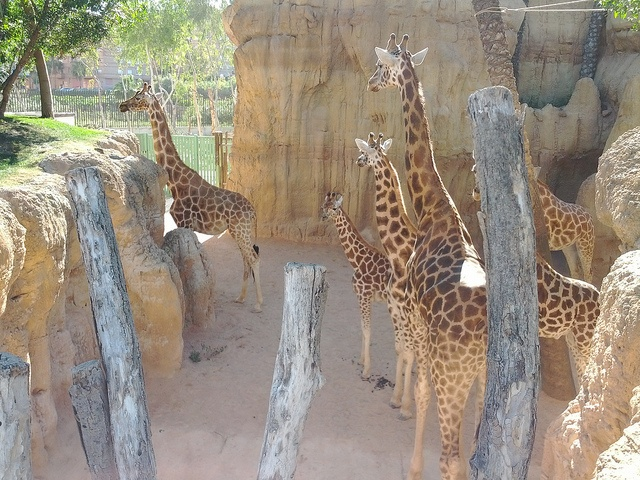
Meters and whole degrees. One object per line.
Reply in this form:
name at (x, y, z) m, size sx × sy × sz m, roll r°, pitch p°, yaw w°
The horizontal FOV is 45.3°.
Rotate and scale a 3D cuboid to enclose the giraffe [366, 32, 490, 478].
giraffe at (1.419, 0.275, 9.134) m, size 0.855 × 5.082 × 2.179 m, roll -3°, pitch 16°, yaw -3°
